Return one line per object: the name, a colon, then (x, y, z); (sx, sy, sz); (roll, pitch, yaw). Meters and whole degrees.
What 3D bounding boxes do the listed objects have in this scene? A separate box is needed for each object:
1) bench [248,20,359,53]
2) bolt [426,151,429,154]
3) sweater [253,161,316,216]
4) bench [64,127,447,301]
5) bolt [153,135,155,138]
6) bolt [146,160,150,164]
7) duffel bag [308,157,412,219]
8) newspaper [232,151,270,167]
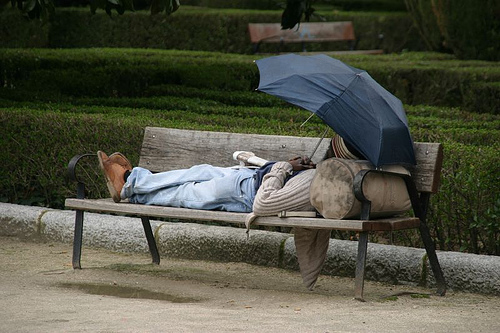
bench: (1.239, -2.733, 21.409); (2.463, 1.100, 0.907); (0, 4, 3)
bolt: (2.163, -0.166, 11.414); (0.044, 0.028, 0.017); (-5, -10, 31)
sweater: (0.405, 0.269, 11.496); (0.600, 0.616, 0.467); (-2, 0, -1)
bench: (-0.137, 0.601, 11.800); (5.003, 2.062, 1.979); (3, 5, 41)
bolt: (-1.297, -0.407, 12.633); (0.033, 0.035, 0.008); (1, 5, 11)
bolt: (-1.380, -0.061, 12.633); (0.069, 0.049, 0.030); (0, 0, 14)
duffel bag: (1.428, 0.281, 11.467); (1.233, 0.783, 0.880); (2, -1, -40)
newspaper: (0.013, -0.119, 11.983); (0.485, 0.196, 0.170); (11, 35, 21)
